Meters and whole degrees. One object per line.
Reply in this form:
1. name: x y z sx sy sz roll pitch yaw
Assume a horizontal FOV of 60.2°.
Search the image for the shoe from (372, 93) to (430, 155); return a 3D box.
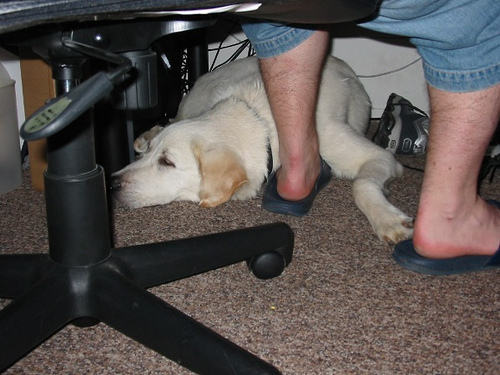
1. shoe: 0.715 -0.324 2.364 0.362 0.291 0.392 14 30 10
